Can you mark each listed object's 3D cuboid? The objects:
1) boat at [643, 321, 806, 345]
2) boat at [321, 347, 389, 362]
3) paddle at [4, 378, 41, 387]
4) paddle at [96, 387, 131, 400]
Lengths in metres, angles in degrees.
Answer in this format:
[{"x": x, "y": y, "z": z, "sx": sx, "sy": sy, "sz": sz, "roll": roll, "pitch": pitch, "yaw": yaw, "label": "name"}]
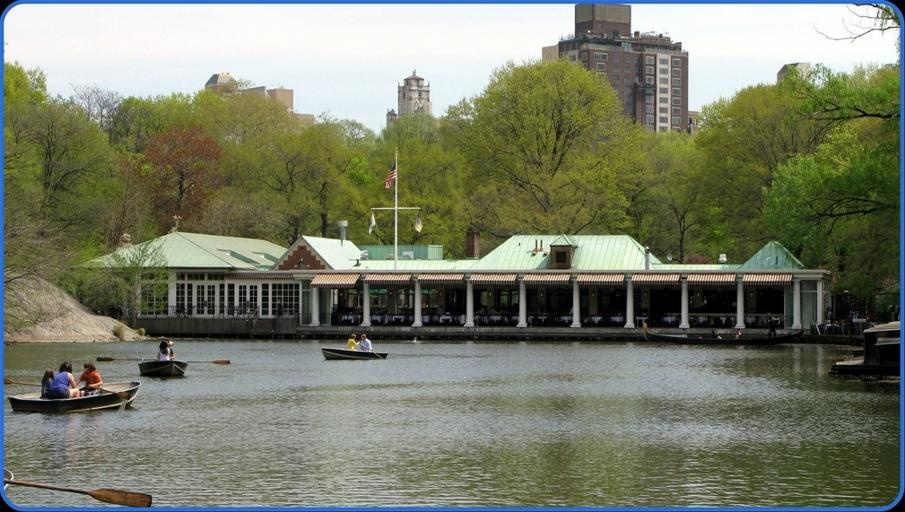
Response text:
[{"x": 24.539, "y": 7.175, "z": 142.281, "sx": 11.500, "sy": 1.604, "sz": 1.951, "roll": -1, "pitch": -5, "yaw": 9, "label": "boat"}, {"x": -8.001, "y": 8.074, "z": 129.045, "sx": 4.887, "sy": 1.049, "sz": 1.282, "roll": 0, "pitch": 12, "yaw": -3, "label": "boat"}, {"x": -30.918, "y": 9.325, "z": 114.941, "sx": 3.450, "sy": 0.397, "sz": 0.527, "roll": 6, "pitch": -1, "yaw": 36, "label": "paddle"}, {"x": -23.048, "y": 9.687, "z": 109.010, "sx": 1.073, "sy": 0.322, "sz": 1.464, "roll": -5, "pitch": 11, "yaw": -37, "label": "paddle"}]
